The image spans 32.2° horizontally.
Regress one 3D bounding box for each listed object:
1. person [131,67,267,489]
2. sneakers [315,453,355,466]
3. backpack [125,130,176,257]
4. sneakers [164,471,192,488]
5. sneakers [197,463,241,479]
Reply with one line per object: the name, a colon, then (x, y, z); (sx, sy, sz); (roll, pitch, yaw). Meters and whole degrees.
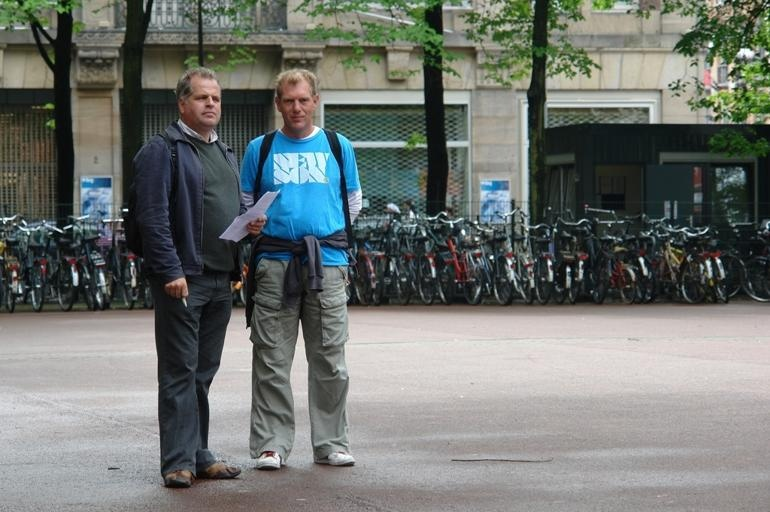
person: (-1.736, 0.157, 12.168); (1.047, 3.710, 0.861); (-8, 13, -33)
sneakers: (-0.453, 1.893, 12.520); (0.365, 0.136, 0.130); (-1, -1, 14)
backpack: (-2.123, -0.562, 12.145); (0.507, 1.156, 0.339); (-4, 11, -13)
sneakers: (-1.855, 2.000, 11.968); (0.240, 0.150, 0.098); (-3, 11, -10)
sneakers: (-1.509, 1.975, 12.272); (0.426, 0.158, 0.146); (-3, 5, -4)
